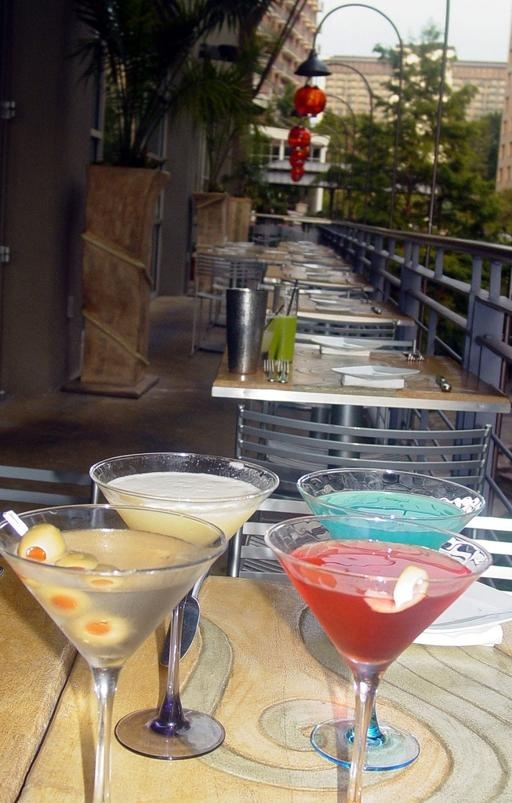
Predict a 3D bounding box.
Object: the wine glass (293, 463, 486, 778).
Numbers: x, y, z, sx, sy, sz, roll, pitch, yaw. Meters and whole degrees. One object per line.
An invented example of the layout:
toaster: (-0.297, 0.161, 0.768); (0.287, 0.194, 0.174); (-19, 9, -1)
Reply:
wine glass: (0.099, 0.206, 0.519); (0.133, 0.151, 0.125); (5, -13, -27)

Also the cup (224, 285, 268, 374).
cup: (-0.036, -0.207, 1.853); (0.112, 0.254, 0.137); (7, 8, -1)

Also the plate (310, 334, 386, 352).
plate: (0.338, -0.220, 2.403); (0.277, 0.055, 0.348); (6, 7, -1)

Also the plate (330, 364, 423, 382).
plate: (0.354, -0.088, 1.905); (0.250, 0.035, 0.237); (8, 8, 11)

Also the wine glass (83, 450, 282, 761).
wine glass: (-0.071, 0.173, 0.535); (0.169, 0.197, 0.165); (-2, -9, 20)

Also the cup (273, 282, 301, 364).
cup: (0.087, -0.240, 1.991); (0.069, 0.242, 0.074); (5, 16, -1)
